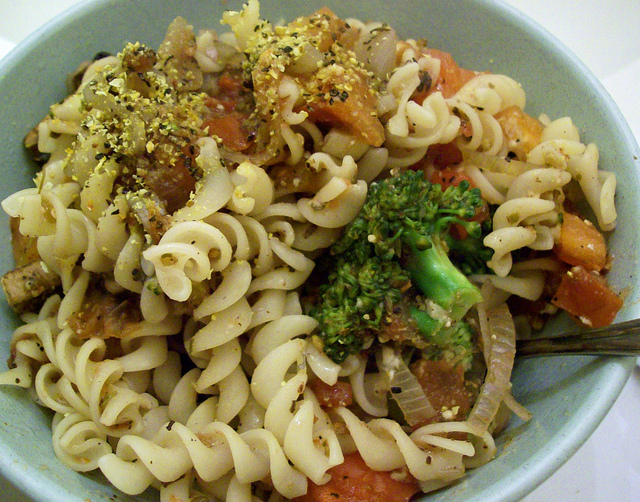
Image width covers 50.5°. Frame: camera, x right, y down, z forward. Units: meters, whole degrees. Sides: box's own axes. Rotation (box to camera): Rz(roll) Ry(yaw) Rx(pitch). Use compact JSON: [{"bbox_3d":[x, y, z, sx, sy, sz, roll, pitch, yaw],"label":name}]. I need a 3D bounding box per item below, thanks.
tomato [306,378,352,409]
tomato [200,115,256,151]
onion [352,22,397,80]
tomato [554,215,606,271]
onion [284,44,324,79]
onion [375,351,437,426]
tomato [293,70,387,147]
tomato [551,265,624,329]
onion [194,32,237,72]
[{"bbox_3d":[0.039,0.618,2.937,0.200,0.077,0.114,10,83,2],"label":"tomato"},{"bbox_3d":[-0.398,-0.527,2.980,0.195,0.046,0.158,24,127,40],"label":"tomato"},{"bbox_3d":[0.251,-0.943,3.166,0.211,0.099,0.284,-9,85,-3],"label":"onion"},{"bbox_3d":[1.161,-0.034,2.982,0.219,0.101,0.217,19,84,3],"label":"tomato"},{"bbox_3d":[-0.063,-0.795,2.900,0.136,0.079,0.152,26,97,-7],"label":"onion"},{"bbox_3d":[0.378,0.601,2.969,0.157,0.073,0.305,-35,83,4],"label":"onion"},{"bbox_3d":[0.127,-0.642,2.941,0.414,0.176,0.285,25,84,3],"label":"tomato"},{"bbox_3d":[1.152,0.204,2.929,0.254,0.180,0.199,44,86,5],"label":"tomato"},{"bbox_3d":[-0.488,-0.919,3.166,0.234,0.067,0.238,-7,80,-8],"label":"onion"}]
